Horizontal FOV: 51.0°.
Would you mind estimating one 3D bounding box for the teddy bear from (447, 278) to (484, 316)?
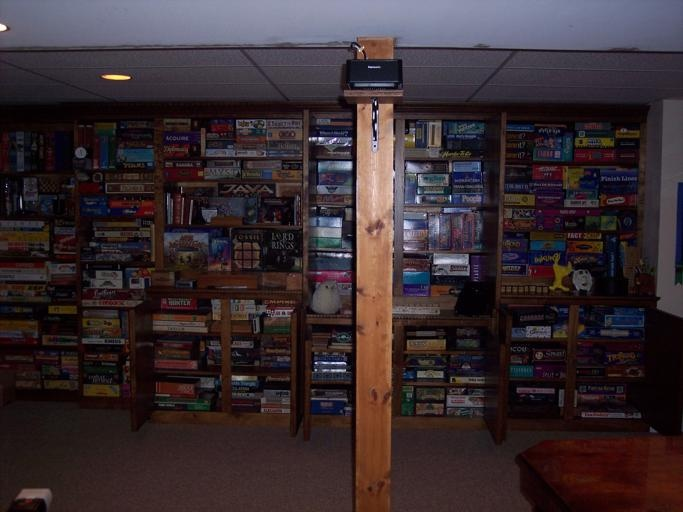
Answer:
[{"bbox_3d":[1.120,0.370,6.274,0.244,0.291,0.154,1,3,7],"label":"teddy bear"}]

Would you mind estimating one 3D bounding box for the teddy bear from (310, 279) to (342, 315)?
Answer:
[{"bbox_3d":[-0.153,0.383,6.302,0.293,0.332,0.345,3,3,-17],"label":"teddy bear"}]
